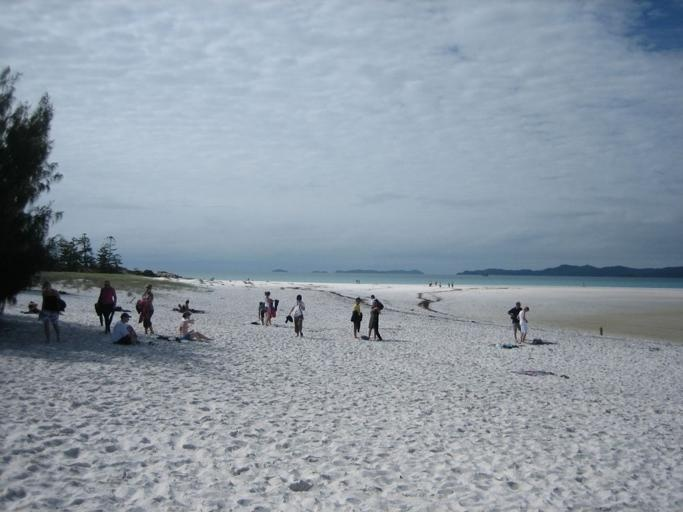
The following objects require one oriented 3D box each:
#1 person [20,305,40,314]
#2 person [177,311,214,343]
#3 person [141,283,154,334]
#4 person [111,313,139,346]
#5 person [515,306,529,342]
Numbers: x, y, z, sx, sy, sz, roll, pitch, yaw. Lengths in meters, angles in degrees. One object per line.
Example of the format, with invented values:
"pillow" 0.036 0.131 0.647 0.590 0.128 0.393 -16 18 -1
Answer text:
"person" -14.211 2.404 25.825 0.774 0.360 0.984 3 -1 -20
"person" -6.256 2.930 23.293 1.524 1.010 1.106 13 13 42
"person" -8.243 2.223 23.880 0.494 2.160 1.248 1 11 -18
"person" -8.189 2.757 21.327 1.062 1.162 0.989 10 7 30
"person" 9.082 3.449 28.214 0.510 1.670 0.737 15 -31 -10
